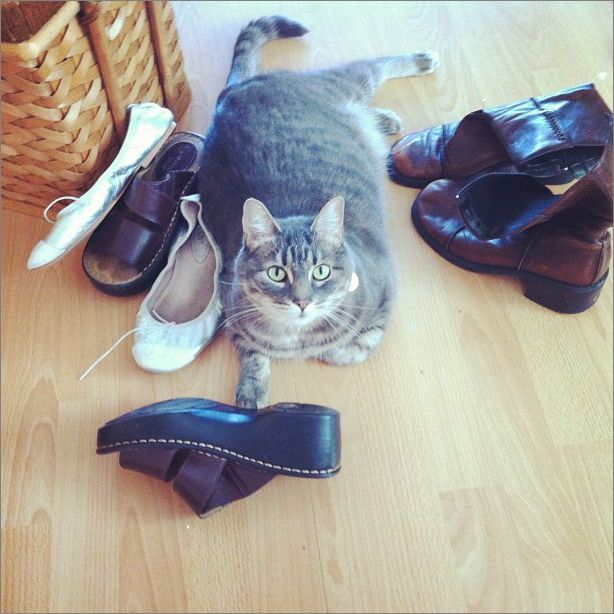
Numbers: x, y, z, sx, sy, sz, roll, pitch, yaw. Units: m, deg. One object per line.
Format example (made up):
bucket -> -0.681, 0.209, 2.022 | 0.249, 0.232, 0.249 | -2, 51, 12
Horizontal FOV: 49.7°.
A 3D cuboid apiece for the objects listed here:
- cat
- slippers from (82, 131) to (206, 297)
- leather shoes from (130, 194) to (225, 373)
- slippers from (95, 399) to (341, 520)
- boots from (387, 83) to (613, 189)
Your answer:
cat -> -0.044, -0.196, 1.567 | 0.585, 0.402, 0.789 | -6, 76, -4
slippers -> -0.365, -0.226, 1.592 | 0.198, 0.158, 0.448 | 32, 86, 8
leather shoes -> -0.262, -0.049, 1.543 | 0.192, 0.168, 0.411 | 10, 76, -6
slippers -> -0.174, 0.287, 1.315 | 0.474, 0.172, 0.237 | 6, 55, 6
boots -> 0.439, -0.361, 1.535 | 0.531, 0.198, 0.147 | 1, 83, 34
